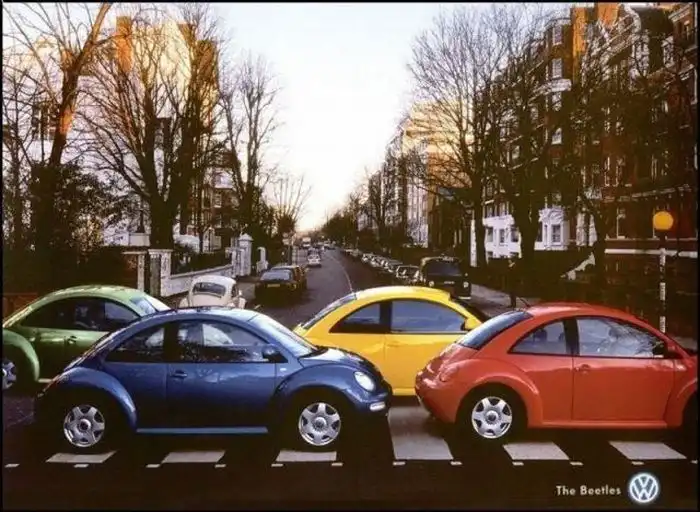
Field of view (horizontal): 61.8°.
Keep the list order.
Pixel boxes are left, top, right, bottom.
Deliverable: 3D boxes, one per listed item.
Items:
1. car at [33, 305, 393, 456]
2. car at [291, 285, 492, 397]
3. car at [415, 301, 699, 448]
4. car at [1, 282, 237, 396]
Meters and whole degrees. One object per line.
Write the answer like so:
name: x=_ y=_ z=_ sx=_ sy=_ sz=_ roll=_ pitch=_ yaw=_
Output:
car: x=-1.913 y=1.843 z=8.881 sx=4.105 sy=1.840 sz=2.273 roll=0 pitch=-5 yaw=-3
car: x=0.499 y=1.515 z=10.605 sx=3.006 sy=1.551 sz=1.768 roll=0 pitch=3 yaw=-2
car: x=3.055 y=1.828 z=9.101 sx=3.500 sy=1.748 sz=1.982 roll=-1 pitch=-1 yaw=2
car: x=-4.552 y=1.503 z=11.093 sx=3.382 sy=1.332 sz=1.813 roll=-1 pitch=5 yaw=-11
